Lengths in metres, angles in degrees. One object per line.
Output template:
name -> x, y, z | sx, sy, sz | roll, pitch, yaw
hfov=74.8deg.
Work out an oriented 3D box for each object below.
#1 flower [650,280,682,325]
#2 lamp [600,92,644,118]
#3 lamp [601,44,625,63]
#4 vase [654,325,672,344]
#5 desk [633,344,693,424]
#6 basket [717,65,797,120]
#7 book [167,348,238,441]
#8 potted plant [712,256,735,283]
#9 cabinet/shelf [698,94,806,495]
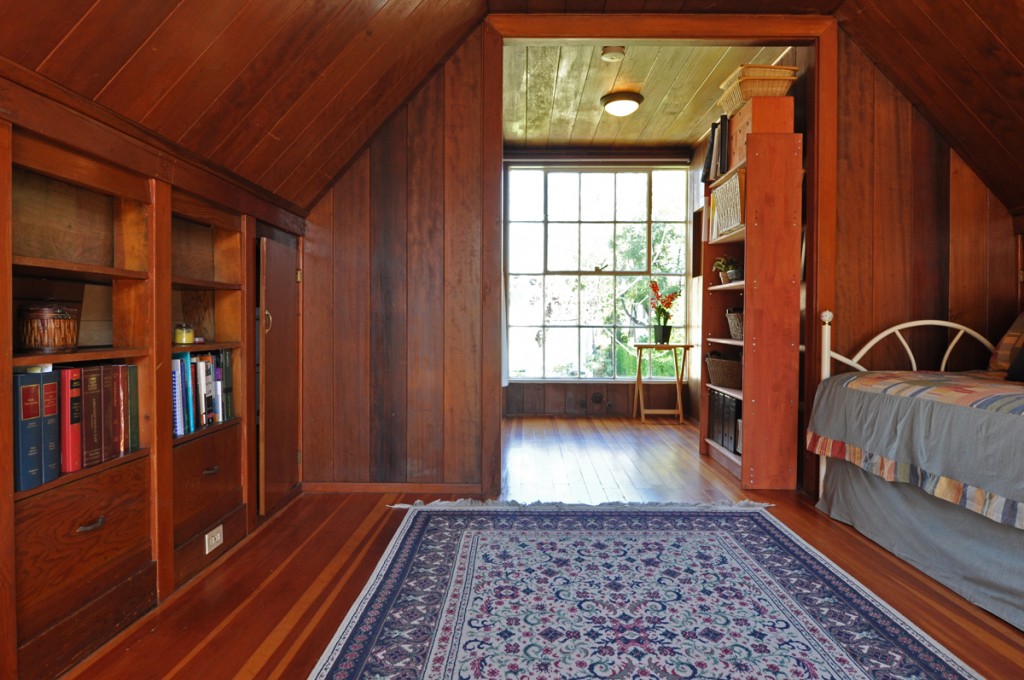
flower -> 1.421, -0.332, 6.328 | 0.395, 0.538, 0.448 | 0, 1, 11
lamp -> 0.867, -1.869, 5.239 | 0.330, 0.170, 0.231 | 2, 15, 7
lamp -> 0.694, -1.945, 4.543 | 0.142, 0.102, 0.146 | 0, -4, -2
vase -> 1.392, -0.061, 6.174 | 0.149, 0.197, 0.181 | 3, 15, 12
desk -> 1.460, 0.433, 6.377 | 0.638, 0.855, 0.457 | 0, 8, 3
basket -> 1.516, -1.570, 4.198 | 0.267, 0.157, 0.431 | -1, 6, -1
book -> -1.484, 0.260, 3.161 | 0.145, 0.413, 0.450 | -1, -1, 0
potted plant -> 1.480, -0.487, 4.652 | 0.169, 0.213, 0.166 | -2, 1, 26
cabinet/shelf -> 1.570, -0.279, 4.286 | 0.475, 2.440, 1.167 | 2, 15, 7
